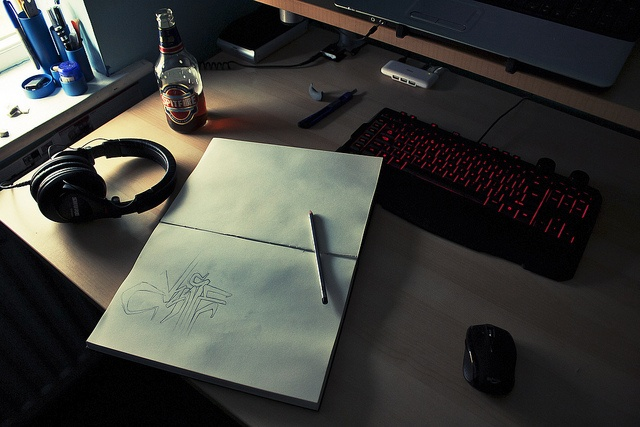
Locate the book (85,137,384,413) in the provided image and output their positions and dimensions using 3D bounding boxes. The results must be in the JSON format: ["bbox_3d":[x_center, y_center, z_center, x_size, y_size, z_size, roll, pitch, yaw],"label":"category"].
[{"bbox_3d":[-0.139,0.062,0.893,0.415,0.035,0.525,14,56,15],"label":"book"}]

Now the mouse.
[{"bbox_3d":[0.314,0.258,0.843,0.092,0.037,0.130,1,58,8],"label":"mouse"}]

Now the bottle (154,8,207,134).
[{"bbox_3d":[-0.332,-0.317,1.154,0.121,0.348,0.114,-1,44,1],"label":"bottle"}]

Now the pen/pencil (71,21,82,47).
[{"bbox_3d":[-0.641,-0.467,1.196,0.020,0.020,0.073,-7,85,-9],"label":"pen/pencil"}]
